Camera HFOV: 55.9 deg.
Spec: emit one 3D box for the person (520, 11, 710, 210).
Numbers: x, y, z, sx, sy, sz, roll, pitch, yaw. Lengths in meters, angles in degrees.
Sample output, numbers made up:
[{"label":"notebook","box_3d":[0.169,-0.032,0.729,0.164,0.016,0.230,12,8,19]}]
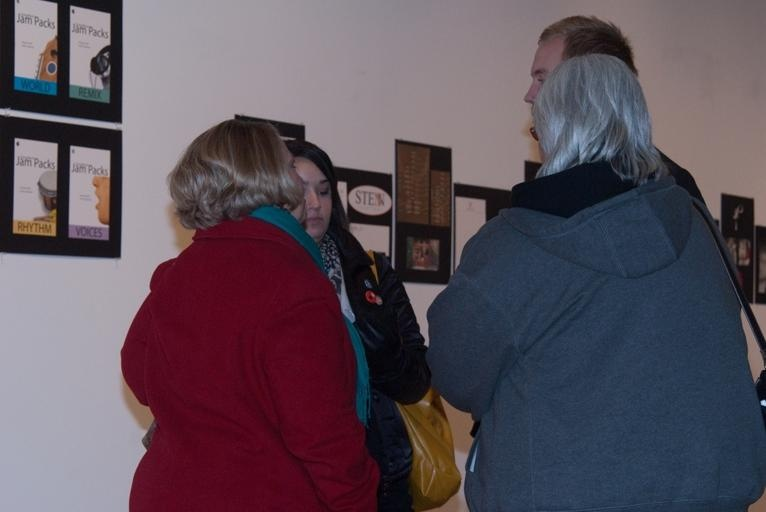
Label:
[{"label":"person","box_3d":[1.024,-0.647,3.514,0.603,0.975,1.254,-1,7,17]}]
